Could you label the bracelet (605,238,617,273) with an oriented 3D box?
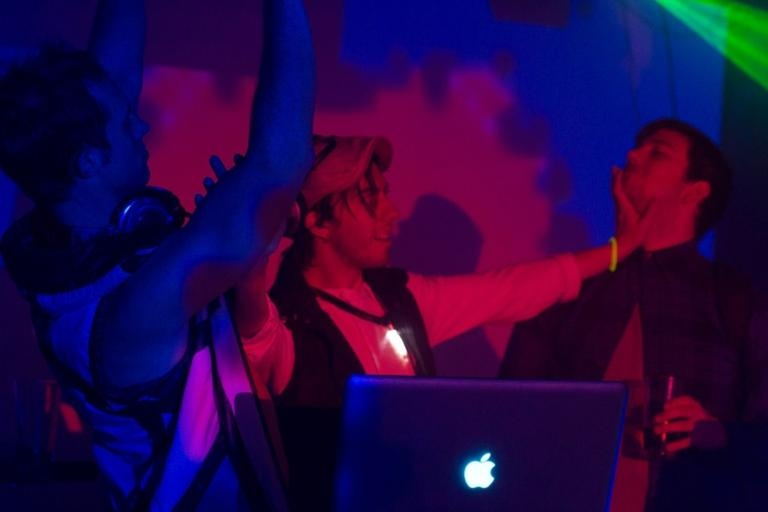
[{"bbox_3d":[1.124,-0.006,3.949,0.049,0.130,0.108,0,-22,1],"label":"bracelet"}]
